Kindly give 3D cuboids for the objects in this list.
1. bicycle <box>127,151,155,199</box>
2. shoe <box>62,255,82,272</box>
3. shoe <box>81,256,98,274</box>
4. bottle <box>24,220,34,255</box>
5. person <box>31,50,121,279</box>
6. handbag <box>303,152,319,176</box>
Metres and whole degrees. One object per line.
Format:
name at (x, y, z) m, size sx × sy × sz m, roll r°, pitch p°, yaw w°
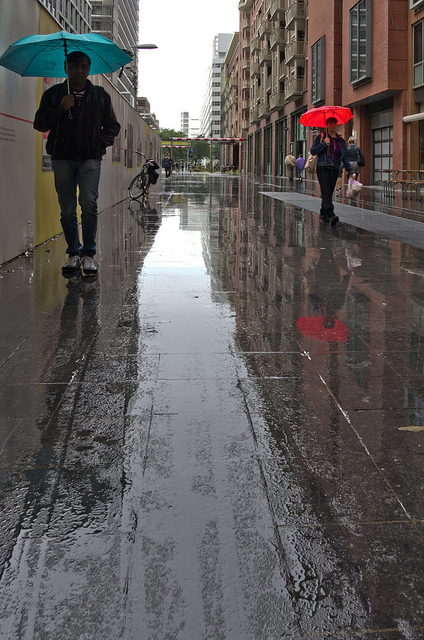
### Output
bicycle at (-2.668, -5.454, 17.784) m, size 0.856 × 1.719 × 2.055 m, roll 0°, pitch 7°, yaw -8°
shoe at (-1.796, -0.739, 6.056) m, size 0.159 × 0.190 × 0.508 m, roll 0°, pitch 8°, yaw -3°
shoe at (-1.535, -0.699, 5.890) m, size 0.120 × 0.189 × 0.409 m, roll -4°, pitch 13°, yaw -10°
bottle at (-2.676, -1.242, 6.933) m, size 0.099 × 0.505 × 0.383 m, roll -1°, pitch 7°, yaw -10°
person at (-1.645, -1.997, 5.801) m, size 0.843 × 2.482 × 0.596 m, roll 2°, pitch 6°, yaw 15°
handbag at (2.332, -3.682, 10.918) m, size 0.302 × 0.516 × 0.646 m, roll 2°, pitch 7°, yaw 14°
